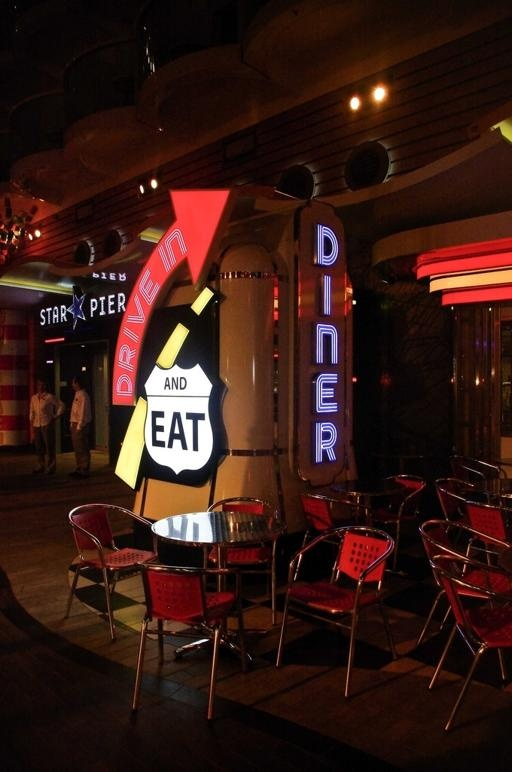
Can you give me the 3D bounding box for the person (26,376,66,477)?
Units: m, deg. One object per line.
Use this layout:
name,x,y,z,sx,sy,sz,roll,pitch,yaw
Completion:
person,-3.996,0.774,10.761,0.542,1.718,1.190,1,-3,-21
